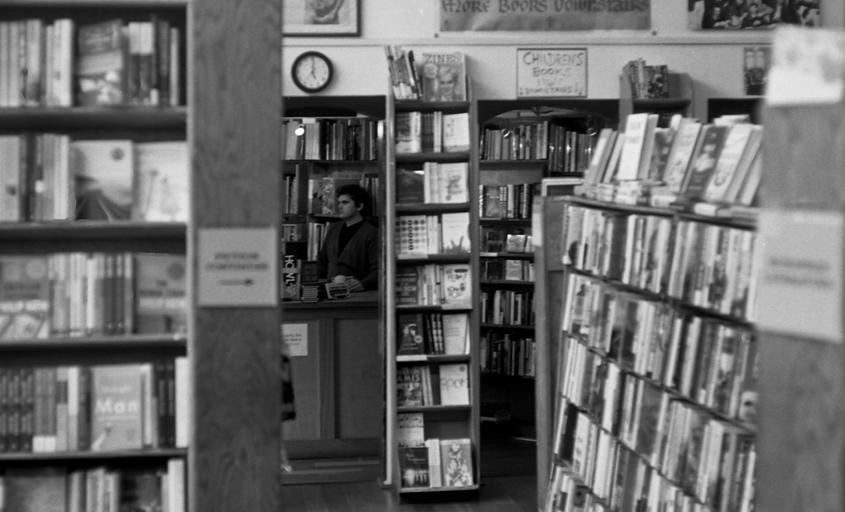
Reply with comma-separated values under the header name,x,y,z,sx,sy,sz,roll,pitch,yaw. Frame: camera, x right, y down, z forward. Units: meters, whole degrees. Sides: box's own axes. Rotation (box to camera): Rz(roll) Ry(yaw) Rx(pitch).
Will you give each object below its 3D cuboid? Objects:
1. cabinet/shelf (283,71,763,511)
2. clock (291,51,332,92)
name,x,y,z,sx,sy,sz,roll,pitch,yaw
cabinet/shelf,0.602,0.269,8.784,3.212,2.891,1.632,0,2,4
clock,-0.805,-1.364,10.005,0.323,0.302,0.045,0,-2,5
